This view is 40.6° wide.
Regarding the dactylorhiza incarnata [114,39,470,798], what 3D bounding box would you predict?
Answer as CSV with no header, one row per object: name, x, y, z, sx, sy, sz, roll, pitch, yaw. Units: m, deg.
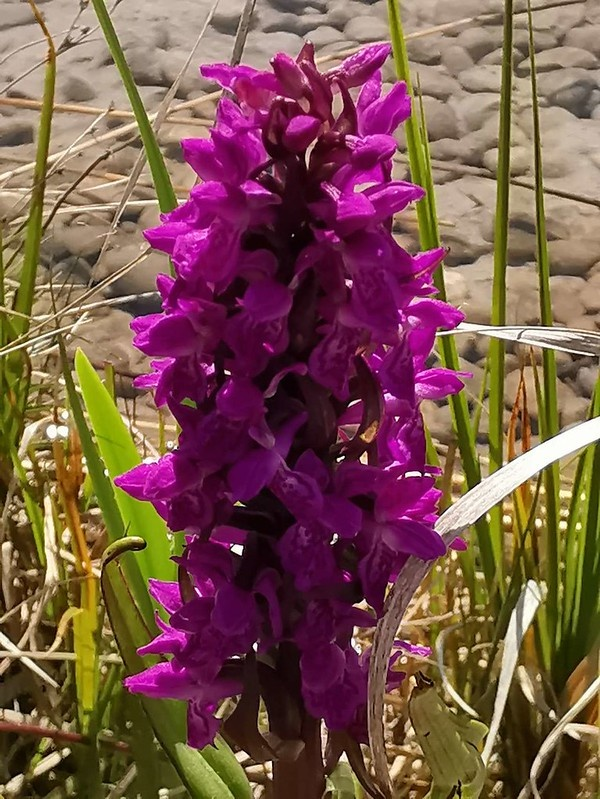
dactylorhiza incarnata,-0.004,0.036,0.479,0.208,0.457,0.199,-3,17,-11
